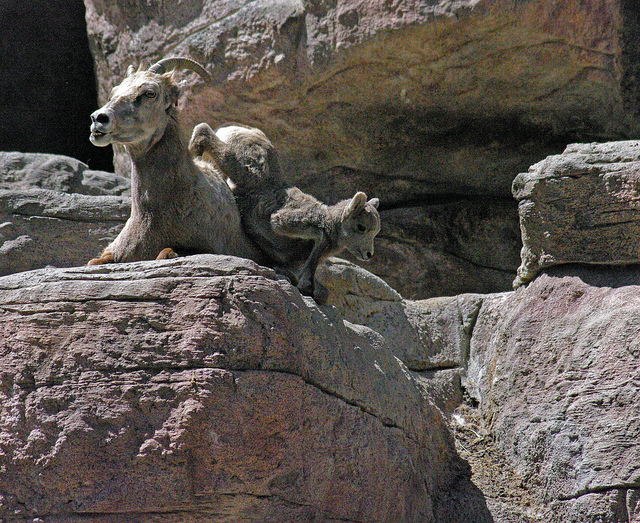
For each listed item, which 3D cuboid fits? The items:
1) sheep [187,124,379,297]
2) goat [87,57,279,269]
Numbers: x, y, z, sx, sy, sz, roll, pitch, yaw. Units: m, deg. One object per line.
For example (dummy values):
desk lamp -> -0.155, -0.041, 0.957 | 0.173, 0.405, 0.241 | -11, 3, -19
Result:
sheep -> -0.279, -0.499, 18.644 | 1.804, 0.933, 0.651 | 39, 11, 26
goat -> -1.114, -0.534, 18.072 | 1.104, 1.956, 1.126 | -9, 16, -31
